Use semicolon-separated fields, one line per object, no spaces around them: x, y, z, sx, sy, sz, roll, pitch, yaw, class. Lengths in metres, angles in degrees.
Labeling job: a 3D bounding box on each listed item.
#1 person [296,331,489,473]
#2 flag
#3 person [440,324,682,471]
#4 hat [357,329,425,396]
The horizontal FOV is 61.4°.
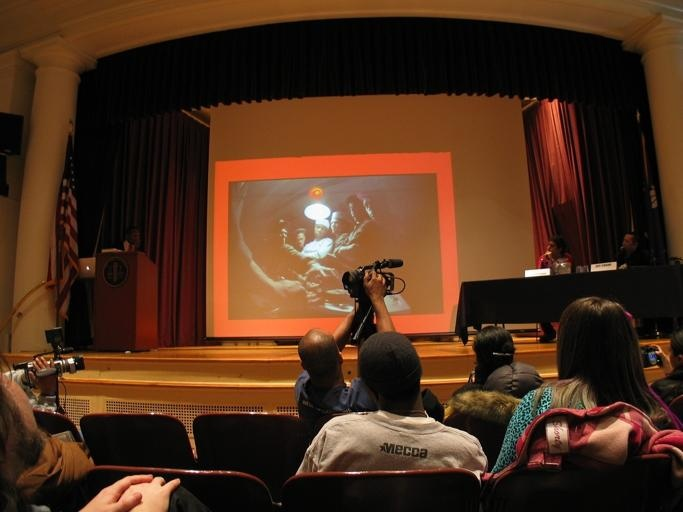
0.266;0.796;3.015;0.984;0.870;0.534;-3;1;4;person
-3.347;-0.388;6.991;0.353;2.265;0.347;-1;-3;-11;flag
1.112;0.711;3.188;0.907;1.020;0.717;3;-10;5;person
0.252;0.525;2.968;0.235;0.285;0.325;-8;15;-12;hat
